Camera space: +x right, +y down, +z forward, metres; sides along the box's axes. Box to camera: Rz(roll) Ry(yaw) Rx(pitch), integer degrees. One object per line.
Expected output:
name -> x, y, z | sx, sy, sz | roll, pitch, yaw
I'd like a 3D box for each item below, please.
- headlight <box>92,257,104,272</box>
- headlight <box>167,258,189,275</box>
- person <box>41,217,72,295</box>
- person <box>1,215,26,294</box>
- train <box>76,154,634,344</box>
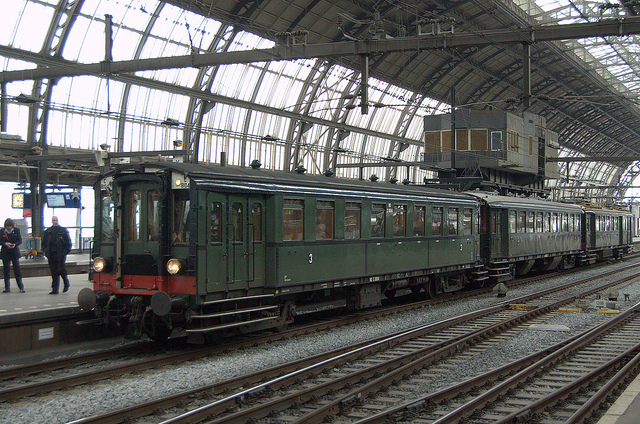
headlight -> -5.986, 1.408, 15.675 | 0.387, 0.393, 0.219 | 0, 5, 26
headlight -> -3.659, 1.385, 14.998 | 0.519, 0.511, 0.396 | -14, -11, 41
person -> -8.669, 1.395, 19.105 | 0.809, 2.578, 0.964 | -2, -2, -29
person -> -10.247, 1.402, 19.312 | 0.683, 2.546, 1.123 | -2, -2, -29
train -> 6.165, 1.154, 27.687 | 6.560, 5.611, 33.228 | -1, -2, 37
